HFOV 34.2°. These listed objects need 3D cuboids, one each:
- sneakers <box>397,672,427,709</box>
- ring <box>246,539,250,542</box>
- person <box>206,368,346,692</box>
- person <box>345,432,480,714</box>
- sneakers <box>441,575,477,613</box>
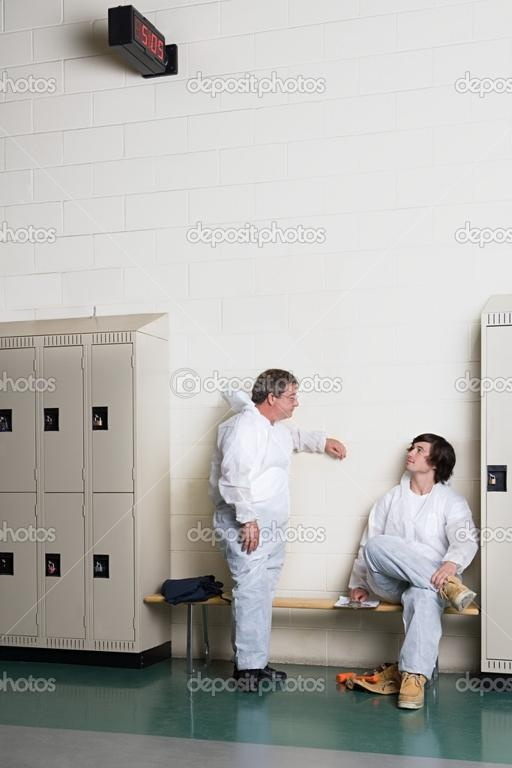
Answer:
[{"bbox_3d":[0.506,0.979,2.708,0.084,0.095,0.187,1,-3,11],"label":"sneakers"},{"bbox_3d":[-0.032,0.541,2.898,0.014,0.013,0.007,-1,-12,8],"label":"ring"},{"bbox_3d":[0.053,0.493,2.946,0.507,1.073,0.237,1,-3,9],"label":"person"},{"bbox_3d":[0.526,0.608,2.857,0.451,0.873,0.444,1,-3,12],"label":"person"},{"bbox_3d":[0.644,0.688,2.764,0.056,0.082,0.139,33,3,-46],"label":"sneakers"}]
